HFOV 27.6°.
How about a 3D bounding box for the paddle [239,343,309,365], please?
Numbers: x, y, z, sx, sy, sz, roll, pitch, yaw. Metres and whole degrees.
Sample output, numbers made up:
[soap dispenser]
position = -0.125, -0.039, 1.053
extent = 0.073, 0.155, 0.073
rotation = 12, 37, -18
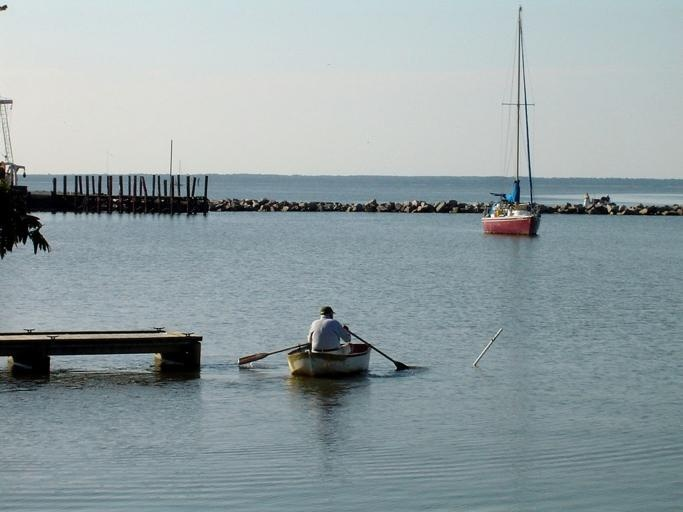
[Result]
[paddle]
position = -1.815, 2.666, 37.587
extent = 2.235, 0.317, 0.112
rotation = -12, -17, -26

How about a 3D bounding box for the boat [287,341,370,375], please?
[boat]
position = -0.207, 2.696, 36.371
extent = 1.572, 0.689, 2.532
rotation = 4, 5, 22
